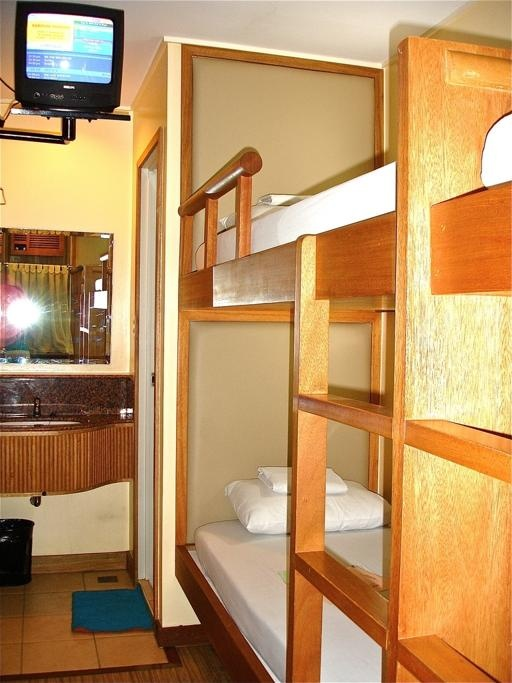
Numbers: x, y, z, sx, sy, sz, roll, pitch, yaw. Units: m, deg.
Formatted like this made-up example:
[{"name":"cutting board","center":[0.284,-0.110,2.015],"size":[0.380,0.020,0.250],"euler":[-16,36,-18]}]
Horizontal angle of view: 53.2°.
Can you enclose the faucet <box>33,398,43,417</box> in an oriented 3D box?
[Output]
[{"name":"faucet","center":[-1.501,0.454,3.525],"size":[0.052,0.107,0.111],"euler":[2,-2,-23]}]
